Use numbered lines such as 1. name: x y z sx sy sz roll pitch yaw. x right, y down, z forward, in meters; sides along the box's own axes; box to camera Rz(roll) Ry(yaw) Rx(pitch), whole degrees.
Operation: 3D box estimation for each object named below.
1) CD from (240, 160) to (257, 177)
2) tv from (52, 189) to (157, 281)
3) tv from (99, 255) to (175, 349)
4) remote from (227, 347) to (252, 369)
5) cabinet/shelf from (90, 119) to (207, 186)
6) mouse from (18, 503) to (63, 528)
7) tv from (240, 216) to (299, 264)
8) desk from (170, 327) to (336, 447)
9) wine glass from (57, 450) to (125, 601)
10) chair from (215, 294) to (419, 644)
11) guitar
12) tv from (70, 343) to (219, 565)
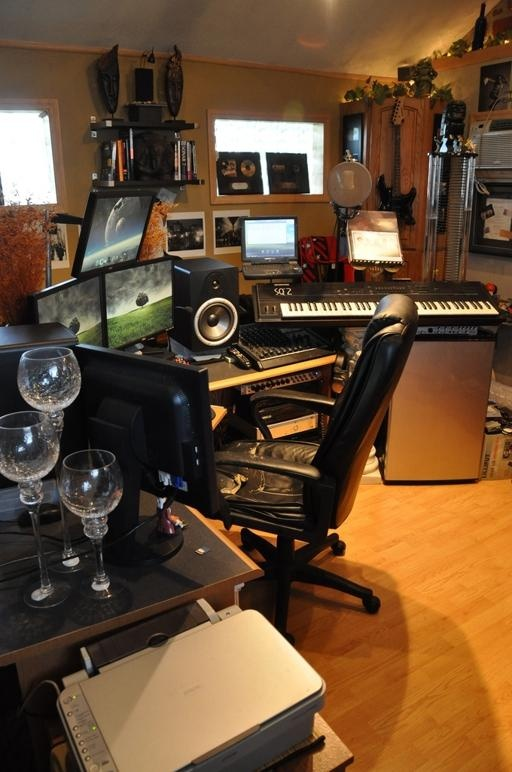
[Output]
1. CD: -0.060 -1.784 4.583 0.148 0.141 0.024 -5 13 -41
2. tv: -0.611 -0.608 2.048 0.260 0.290 0.470 23 24 5
3. tv: -0.488 -0.352 2.265 0.017 0.305 0.424 11 24 23
4. remote: -0.086 -0.136 2.635 0.057 0.046 0.172 -36 41 -14
5. cabinet/shelf: -0.716 -1.562 3.870 0.664 0.397 0.254 -1 7 -3
6. mouse: -0.497 0.299 1.307 0.070 0.024 0.040 -4 11 -22
7. tv: 0.079 -0.858 3.295 0.269 0.216 0.036 -2 6 -12
8. desk: 0.120 0.001 2.901 0.443 0.431 0.262 -10 40 -12
9. wine glass: -0.309 0.242 1.053 0.109 0.260 0.236 1 10 -14
10. chair: 0.142 0.255 1.921 0.647 1.074 0.597 6 22 15
11. guitar: 1.124 -1.721 4.479 0.334 1.157 0.086 10 56 19
12. tv: -0.229 0.148 1.113 0.331 0.366 0.165 20 28 38
